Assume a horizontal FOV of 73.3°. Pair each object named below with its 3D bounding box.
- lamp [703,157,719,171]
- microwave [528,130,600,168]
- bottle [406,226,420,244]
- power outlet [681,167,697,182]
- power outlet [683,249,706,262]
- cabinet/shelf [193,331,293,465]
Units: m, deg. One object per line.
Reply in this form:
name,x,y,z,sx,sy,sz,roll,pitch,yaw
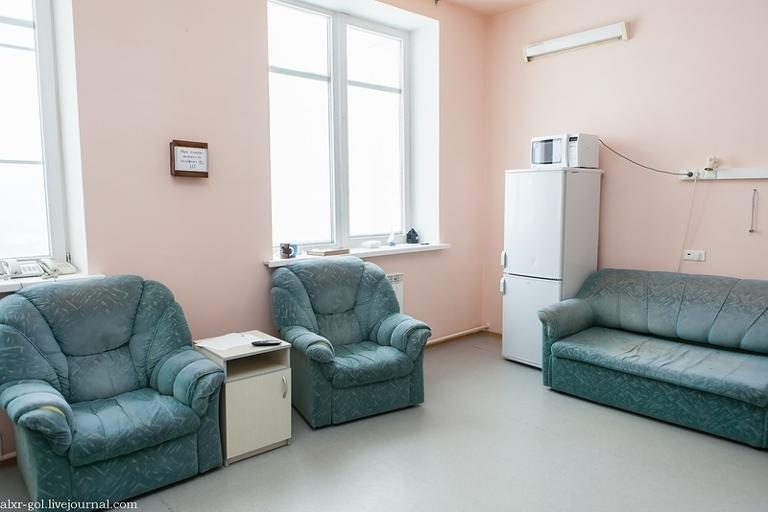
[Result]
lamp,3.187,-0.896,5.022,0.094,0.165,0.138,7,-3,0
microwave,1.959,-1.115,5.632,0.453,0.360,0.629,-7,10,-31
bottle,0.343,-0.252,6.199,0.162,0.222,0.169,0,0,0
power outlet,3.027,-0.803,5.153,0.051,0.083,0.150,-1,3,-25
power outlet,3.102,-0.001,5.156,0.177,0.108,0.120,10,-1,39
cabinet/shelf,-1.044,1.100,4.554,0.847,1.186,0.899,-4,6,-42
